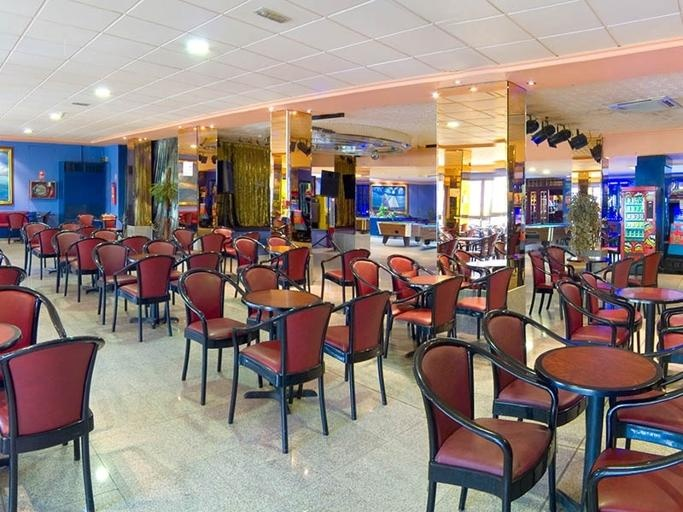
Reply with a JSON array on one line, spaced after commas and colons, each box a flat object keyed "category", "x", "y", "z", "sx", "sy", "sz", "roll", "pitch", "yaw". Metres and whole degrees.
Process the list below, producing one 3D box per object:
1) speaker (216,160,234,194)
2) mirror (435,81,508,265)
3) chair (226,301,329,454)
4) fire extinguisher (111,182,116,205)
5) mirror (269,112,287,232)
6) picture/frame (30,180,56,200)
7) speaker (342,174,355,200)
[{"category": "speaker", "x": -3.332, "y": -2.246, "z": 14.121, "sx": 0.434, "sy": 0.876, "sz": 0.570, "roll": -2, "pitch": 12, "yaw": -15}, {"category": "mirror", "x": 1.925, "y": -1.295, "z": 7.450, "sx": 1.143, "sy": 2.508, "sz": 0.523, "roll": 4, "pitch": 12, "yaw": 17}, {"category": "chair", "x": -0.539, "y": 0.889, "z": 4.233, "sx": 0.763, "sy": 1.125, "sz": 0.865, "roll": -8, "pitch": 14, "yaw": -37}, {"category": "fire extinguisher", "x": -7.962, "y": -2.193, "z": 17.441, "sx": 0.064, "sy": 0.768, "sz": 0.396, "roll": -10, "pitch": 16, "yaw": -44}, {"category": "mirror", "x": -1.292, "y": -1.754, "z": 10.167, "sx": 0.525, "sy": 2.333, "sz": 0.175, "roll": 8, "pitch": 13, "yaw": 32}, {"category": "picture/frame", "x": -10.057, "y": -2.242, "z": 16.692, "sx": 0.093, "sy": 0.567, "sz": 0.691, "roll": 2, "pitch": 3, "yaw": 35}, {"category": "speaker", "x": 0.196, "y": -2.098, "z": 15.082, "sx": 0.441, "sy": 0.733, "sz": 0.248, "roll": -5, "pitch": 13, "yaw": -28}]
